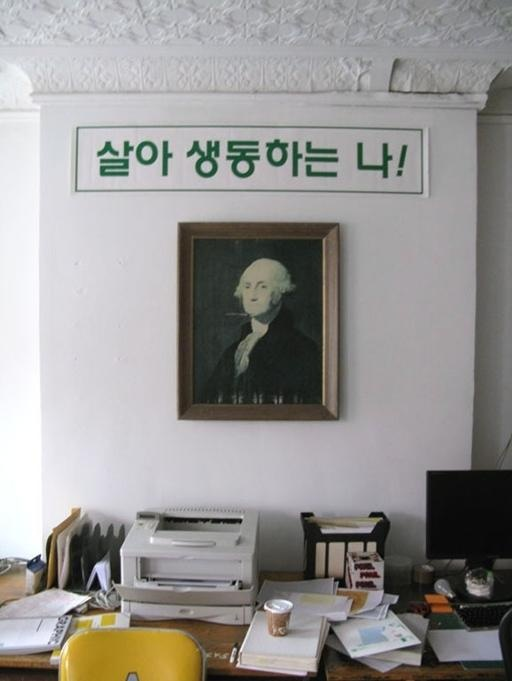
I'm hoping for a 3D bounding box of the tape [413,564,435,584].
[{"bbox_3d":[0.649,0.904,2.794,0.058,0.052,0.077,-2,-4,35],"label":"tape"}]

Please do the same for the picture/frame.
[{"bbox_3d":[0.019,-0.071,2.869,0.810,0.963,0.067,1,0,0],"label":"picture/frame"}]

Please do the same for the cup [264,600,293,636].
[{"bbox_3d":[0.066,0.890,2.342,0.096,0.082,0.091,1,7,0],"label":"cup"}]

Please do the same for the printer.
[{"bbox_3d":[-0.237,0.788,2.610,0.394,0.252,0.382,1,1,3],"label":"printer"}]
